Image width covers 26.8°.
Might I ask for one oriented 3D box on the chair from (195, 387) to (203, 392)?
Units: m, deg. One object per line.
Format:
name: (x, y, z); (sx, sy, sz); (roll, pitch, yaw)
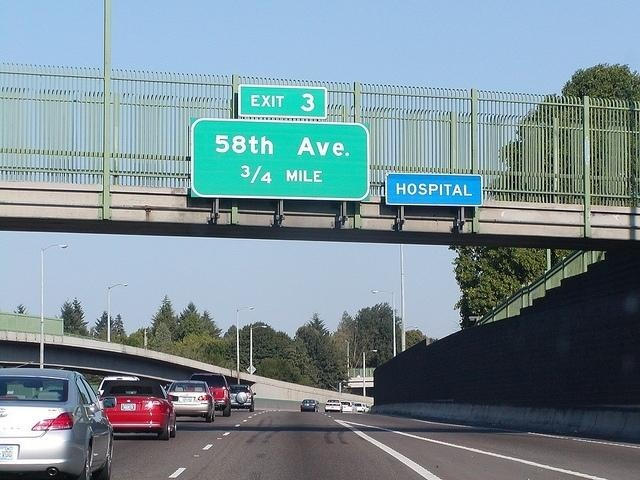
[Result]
chair: (-5.352, 6.689, 60.015); (0.201, 0.196, 0.180); (2, -11, -9)
